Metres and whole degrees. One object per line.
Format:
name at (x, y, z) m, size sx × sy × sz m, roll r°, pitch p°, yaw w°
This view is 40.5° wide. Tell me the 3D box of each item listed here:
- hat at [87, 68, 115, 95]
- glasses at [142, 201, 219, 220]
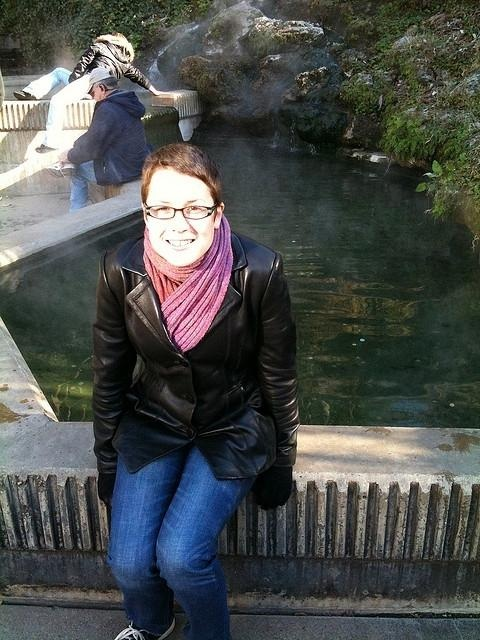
hat at (-1.384, -2.386, 6.452) m, size 0.221 × 0.199 × 0.299 m, roll -5°, pitch 19°, yaw -14°
glasses at (-0.163, -0.308, 1.857) m, size 0.193 × 0.043 × 0.059 m, roll 0°, pitch 19°, yaw -2°
